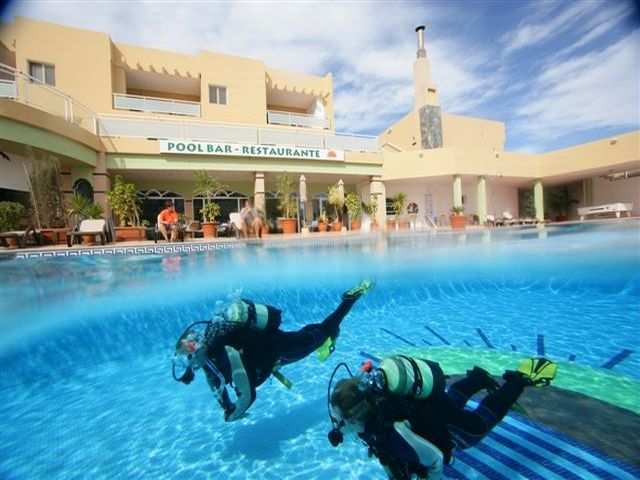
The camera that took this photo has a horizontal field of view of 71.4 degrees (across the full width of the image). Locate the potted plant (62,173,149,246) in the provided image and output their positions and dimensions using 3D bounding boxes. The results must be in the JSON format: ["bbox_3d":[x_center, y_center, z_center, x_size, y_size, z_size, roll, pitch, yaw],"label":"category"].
[{"bbox_3d":[-6.753,-0.815,13.402,2.517,1.966,2.325,0,6,-4],"label":"potted plant"}]

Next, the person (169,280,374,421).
[{"bbox_3d":[-0.306,0.851,3.409,1.525,0.900,0.590,-2,-11,-25],"label":"person"}]
